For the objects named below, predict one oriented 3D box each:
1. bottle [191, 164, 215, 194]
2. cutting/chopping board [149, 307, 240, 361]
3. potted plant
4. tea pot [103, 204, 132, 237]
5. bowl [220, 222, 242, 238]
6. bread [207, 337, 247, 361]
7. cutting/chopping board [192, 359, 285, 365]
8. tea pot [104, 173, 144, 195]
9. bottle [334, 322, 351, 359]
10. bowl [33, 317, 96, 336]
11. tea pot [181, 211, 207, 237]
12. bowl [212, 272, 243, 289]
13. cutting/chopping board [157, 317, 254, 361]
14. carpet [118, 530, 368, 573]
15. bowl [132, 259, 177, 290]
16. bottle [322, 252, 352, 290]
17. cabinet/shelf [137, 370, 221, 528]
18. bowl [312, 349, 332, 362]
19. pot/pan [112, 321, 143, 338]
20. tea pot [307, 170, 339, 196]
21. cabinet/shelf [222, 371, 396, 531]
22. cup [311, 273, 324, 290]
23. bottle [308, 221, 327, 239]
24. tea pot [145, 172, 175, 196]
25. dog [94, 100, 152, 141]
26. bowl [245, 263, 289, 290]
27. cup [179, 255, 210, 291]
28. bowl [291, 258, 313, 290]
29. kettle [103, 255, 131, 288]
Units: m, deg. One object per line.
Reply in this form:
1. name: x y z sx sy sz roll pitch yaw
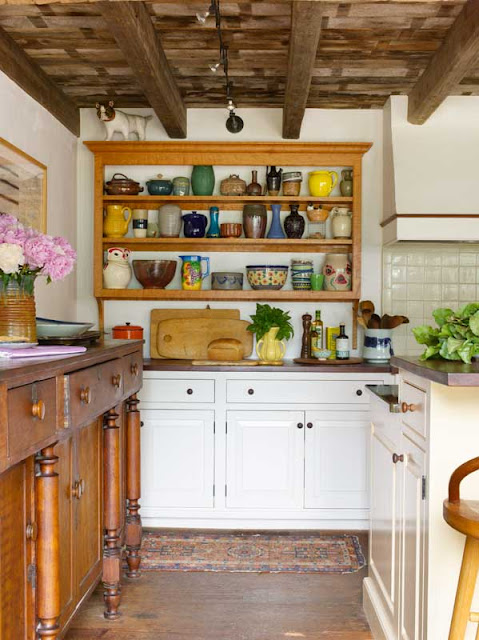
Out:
1. bottle: -0.219 -0.837 3.404 0.163 0.210 0.162 1 2 0
2. cutting/chopping board: -0.327 0.076 3.561 0.494 0.331 0.109 1 -8 0
3. potted plant: 0.176 0.093 3.336 0.355 0.436 0.312 2 -6 -8
4. tea pot: -0.740 -0.594 3.390 0.204 0.206 0.168 1 0 8
5. bowl: -0.050 -0.532 3.379 0.102 0.072 0.103 -1 4 0
6. bread: -0.080 0.173 3.274 0.204 0.133 0.134 0 0 -3
7. cutting/chopping board: -0.008 0.243 3.217 0.505 0.018 0.299 0 0 2
8. tea pot: -0.711 -0.826 3.432 0.188 0.103 0.174 0 0 0
9. bottle: 0.626 0.133 3.416 0.083 0.198 0.327 0 0 11
10. bowl: -0.607 0.027 1.957 0.176 0.062 0.214 0 0 -20
11. tea pot: -0.270 -0.568 3.355 0.164 0.150 0.120 1 -1 -3
12. bowl: -0.072 -0.222 3.394 0.125 0.072 0.125 0 2 0
13. cutting/chopping board: -0.254 0.096 3.521 0.688 0.353 0.072 -2 -23 32
14. carpet: 0.047 1.140 2.815 1.144 0.017 0.536 0 0 2
15. bowl: -0.516 -0.255 3.400 0.202 0.128 0.201 -1 -1 0
16. bottle: 0.582 -0.285 3.481 0.213 0.235 0.182 1 -2 -16
17. cabinet/shelf: -0.289 0.704 3.233 0.483 0.828 0.320 -4 -8 12
18. bowl: 0.479 0.211 3.375 0.073 0.049 0.072 1 -6 0
19. pot/pan: -0.632 0.064 3.203 0.110 0.077 0.110 2 -3 -41
20. tea pot: 0.494 -0.815 3.386 0.180 0.159 0.135 1 4 5
21. cabinet/shelf: 0.324 0.697 3.232 0.894 0.806 0.340 2 -4 -8
22. cup: 0.464 -0.236 3.410 0.092 0.104 0.092 -1 1 0
23. bottle: 0.467 -0.546 3.455 0.117 0.120 0.115 1 4 13
24. tea pot: -0.478 -0.796 3.394 0.173 0.126 0.140 0 0 -5
25. dog: -0.682 -1.207 3.402 0.307 0.283 0.333 0 0 -8
26. bowl: 0.163 -0.253 3.352 0.181 0.105 0.176 -1 -2 0
27. cup: -0.277 -0.282 3.403 0.236 0.248 0.160 1 0 1
28. bowl: 0.371 -0.269 3.391 0.165 0.205 0.168 -1 2 0
29. kettle: -0.729 -0.282 3.380 0.170 0.210 0.169 3 -5 -31
